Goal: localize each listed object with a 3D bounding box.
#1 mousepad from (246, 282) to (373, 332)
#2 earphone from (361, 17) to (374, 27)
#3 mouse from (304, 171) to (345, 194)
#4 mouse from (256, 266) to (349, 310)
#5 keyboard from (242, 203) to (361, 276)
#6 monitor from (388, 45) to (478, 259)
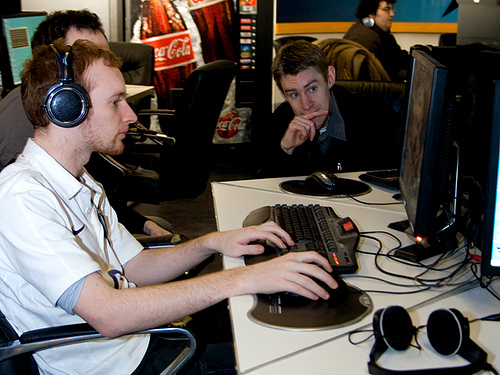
[{"bbox_3d":[0.151,0.324,1.133,0.315,0.019,0.434,4,11,-5],"label":"mousepad"},{"bbox_3d":[1.171,-1.666,4.266,0.126,0.093,0.028,-5,21,-12],"label":"earphone"},{"bbox_3d":[0.331,-0.032,1.860,0.088,0.043,0.137,1,17,-28],"label":"mouse"},{"bbox_3d":[0.171,0.253,1.192,0.136,0.033,0.143,4,11,14],"label":"mouse"},{"bbox_3d":[0.200,0.168,1.438,0.335,0.070,0.434,-6,22,-2],"label":"keyboard"},{"bbox_3d":[0.608,-0.104,1.433,0.235,0.591,0.692,2,16,16],"label":"monitor"}]
